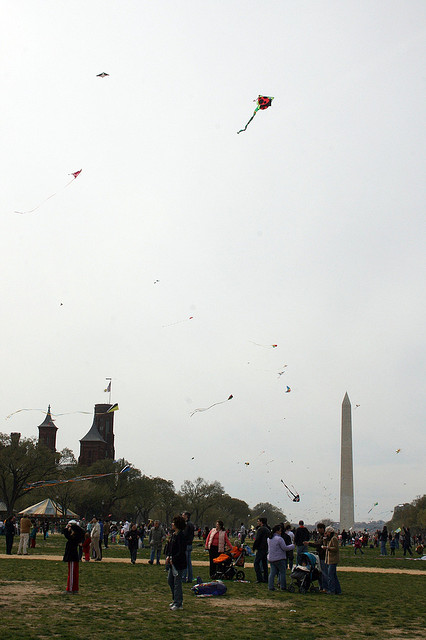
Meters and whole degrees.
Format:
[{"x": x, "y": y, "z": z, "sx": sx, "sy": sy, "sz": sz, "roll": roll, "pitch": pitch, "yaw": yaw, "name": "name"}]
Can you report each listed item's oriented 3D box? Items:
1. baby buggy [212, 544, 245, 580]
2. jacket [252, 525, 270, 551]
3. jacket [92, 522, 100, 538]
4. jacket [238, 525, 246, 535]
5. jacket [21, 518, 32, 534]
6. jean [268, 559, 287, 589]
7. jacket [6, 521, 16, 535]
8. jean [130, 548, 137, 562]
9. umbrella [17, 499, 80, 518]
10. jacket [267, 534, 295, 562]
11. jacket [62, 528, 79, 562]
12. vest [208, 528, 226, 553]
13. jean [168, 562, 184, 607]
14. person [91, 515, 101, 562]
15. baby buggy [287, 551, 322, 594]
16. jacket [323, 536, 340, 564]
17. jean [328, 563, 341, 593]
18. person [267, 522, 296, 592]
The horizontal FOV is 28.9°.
[{"x": 0.314, "y": 6.284, "z": 21.340, "sx": 0.934, "sy": 0.941, "sz": 0.617, "roll": 20, "pitch": -30, "yaw": -31, "name": "baby buggy"}, {"x": 1.182, "y": 5.358, "z": 20.316, "sx": 0.405, "sy": 0.591, "sz": 0.464, "roll": -1, "pitch": -17, "yaw": 3, "name": "jacket"}, {"x": -3.947, "y": 7.143, "z": 27.978, "sx": 0.237, "sy": 0.450, "sz": 0.455, "roll": 3, "pitch": -17, "yaw": -10, "name": "jacket"}, {"x": 1.673, "y": 12.212, "z": 47.740, "sx": 0.307, "sy": 0.497, "sz": 0.383, "roll": 6, "pitch": -2, "yaw": -45, "name": "jacket"}, {"x": -7.280, "y": 8.013, "z": 32.119, "sx": 0.626, "sy": 0.663, "sz": 0.379, "roll": 2, "pitch": -34, "yaw": -7, "name": "jacket"}, {"x": 1.477, "y": 5.953, "z": 19.277, "sx": 0.383, "sy": 0.654, "sz": 0.777, "roll": 0, "pitch": -17, "yaw": 0, "name": "jean"}, {"x": -8.046, "y": 8.281, "z": 32.780, "sx": 0.277, "sy": 0.570, "sz": 1.874, "roll": 5, "pitch": -17, "yaw": -15, "name": "jacket"}, {"x": -2.641, "y": 7.815, "z": 27.347, "sx": 0.158, "sy": 0.438, "sz": 0.383, "roll": 4, "pitch": -17, "yaw": -11, "name": "jean"}, {"x": -10.594, "y": 12.329, "z": 53.289, "sx": 2.925, "sy": 1.049, "sz": 2.763, "roll": 13, "pitch": -19, "yaw": -33, "name": "umbrella"}, {"x": 1.488, "y": 5.285, "z": 19.064, "sx": 0.538, "sy": 0.617, "sz": 0.481, "roll": -9, "pitch": -19, "yaw": 27, "name": "jacket"}, {"x": -2.972, "y": 4.721, "z": 17.324, "sx": 0.314, "sy": 0.670, "sz": 0.497, "roll": 3, "pitch": -17, "yaw": -10, "name": "jacket"}, {"x": 0.103, "y": 5.566, "z": 20.695, "sx": 0.440, "sy": 0.541, "sz": 0.712, "roll": 1, "pitch": -17, "yaw": -3, "name": "vest"}, {"x": -0.723, "y": 5.066, "z": 15.697, "sx": 0.259, "sy": 0.771, "sz": 0.363, "roll": 2, "pitch": -17, "yaw": -6, "name": "jean"}, {"x": -3.956, "y": 7.481, "z": 28.052, "sx": 0.363, "sy": 1.398, "sz": 0.791, "roll": 3, "pitch": -17, "yaw": -9, "name": "person"}, {"x": 2.149, "y": 5.993, "z": 19.540, "sx": 0.809, "sy": 0.918, "sz": 1.576, "roll": -2, "pitch": -17, "yaw": 7, "name": "baby buggy"}, {"x": 2.689, "y": 5.280, "z": 18.875, "sx": 0.314, "sy": 0.604, "sz": 0.659, "roll": -1, "pitch": -17, "yaw": 5, "name": "jacket"}, {"x": 2.799, "y": 6.010, "z": 19.165, "sx": 0.287, "sy": 0.660, "sz": 0.993, "roll": -2, "pitch": -17, "yaw": 8, "name": "jean"}, {"x": 1.605, "y": 5.621, "z": 19.364, "sx": 0.672, "sy": 1.518, "sz": 0.713, "roll": -8, "pitch": -18, "yaw": 32, "name": "person"}]
